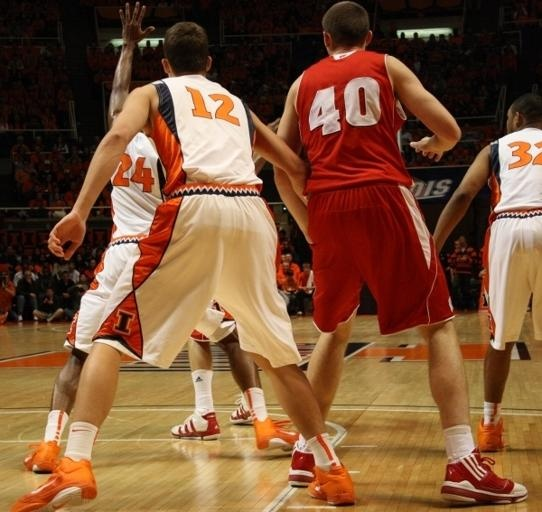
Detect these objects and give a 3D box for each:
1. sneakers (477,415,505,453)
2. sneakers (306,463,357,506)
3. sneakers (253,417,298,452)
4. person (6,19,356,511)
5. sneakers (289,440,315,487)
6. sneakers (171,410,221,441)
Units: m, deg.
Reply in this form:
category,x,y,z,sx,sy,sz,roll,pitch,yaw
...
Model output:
category,x,y,z,sx,sy,sz,roll,pitch,yaw
sneakers,1.123,0.902,2.712,0.104,0.115,0.279,-2,-5,15
sneakers,0.238,0.837,1.997,0.086,0.102,0.233,-2,-4,-11
sneakers,0.062,0.944,2.876,0.296,0.123,0.103,5,-8,-40
person,-0.306,-0.010,1.973,1.105,1.850,0.451,0,-5,-25
sneakers,0.138,0.854,2.187,0.081,0.100,0.220,0,-4,6
sneakers,-0.489,1.007,3.208,0.335,0.154,0.120,1,-8,8
